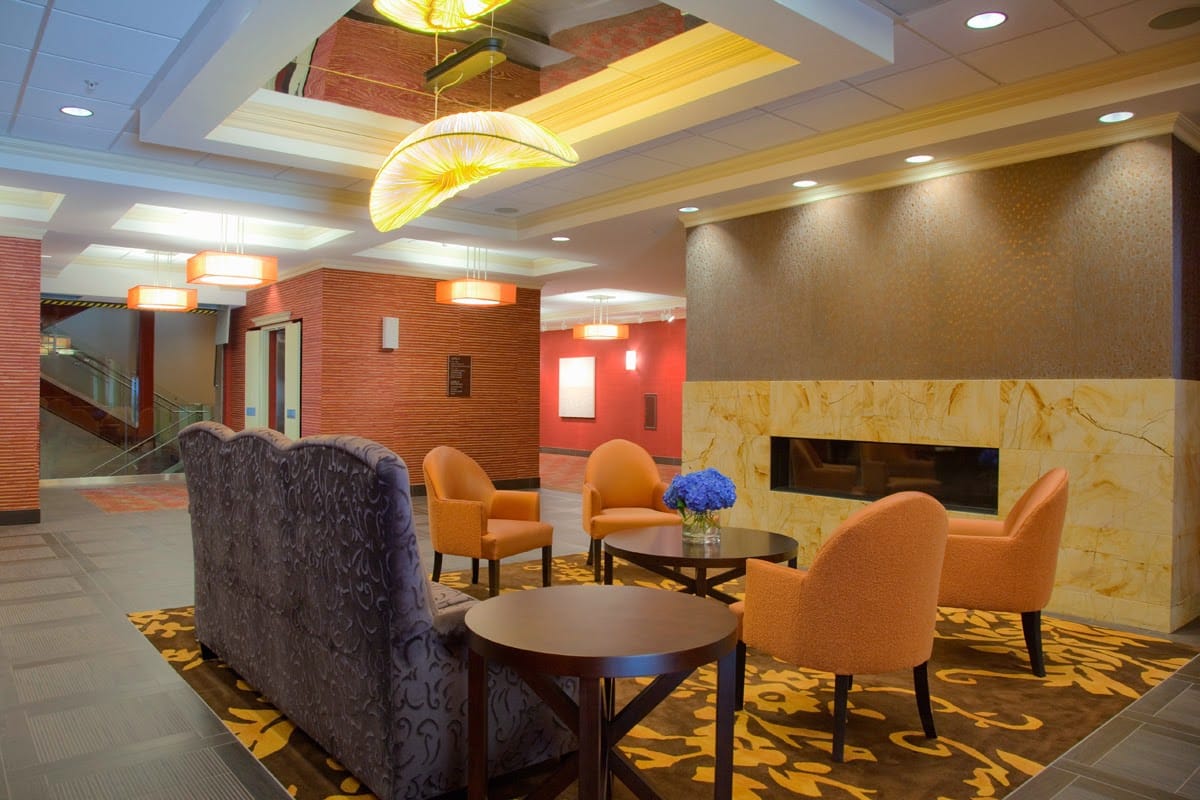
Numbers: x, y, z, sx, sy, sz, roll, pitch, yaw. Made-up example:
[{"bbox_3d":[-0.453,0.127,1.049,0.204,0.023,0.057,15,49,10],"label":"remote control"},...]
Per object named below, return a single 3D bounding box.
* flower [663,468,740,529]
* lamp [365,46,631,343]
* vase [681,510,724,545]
[{"bbox_3d":[0.688,0.812,5.846,0.605,0.465,0.560,5,-10,-33],"label":"flower"},{"bbox_3d":[-0.795,-1.465,6.051,1.875,1.454,1.835,1,-5,-43],"label":"lamp"},{"bbox_3d":[0.784,0.975,5.738,0.272,0.270,0.277,-7,-11,40],"label":"vase"}]
